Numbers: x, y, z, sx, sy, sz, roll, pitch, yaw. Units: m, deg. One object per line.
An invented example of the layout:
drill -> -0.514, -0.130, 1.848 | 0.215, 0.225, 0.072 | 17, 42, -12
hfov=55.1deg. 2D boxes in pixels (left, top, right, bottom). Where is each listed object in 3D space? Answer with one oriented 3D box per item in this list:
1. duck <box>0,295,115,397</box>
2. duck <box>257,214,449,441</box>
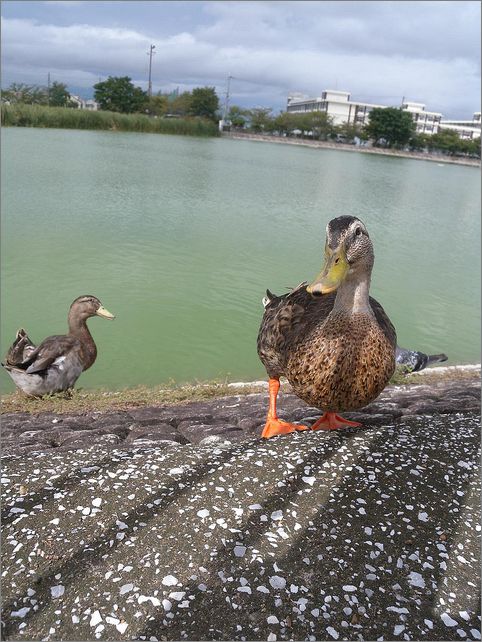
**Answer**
duck -> -2.634, 0.333, 6.668 | 0.861, 1.430, 1.717 | -4, -2, 22
duck -> 0.643, 0.135, 3.606 | 0.952, 1.733, 1.384 | -3, -2, -6
